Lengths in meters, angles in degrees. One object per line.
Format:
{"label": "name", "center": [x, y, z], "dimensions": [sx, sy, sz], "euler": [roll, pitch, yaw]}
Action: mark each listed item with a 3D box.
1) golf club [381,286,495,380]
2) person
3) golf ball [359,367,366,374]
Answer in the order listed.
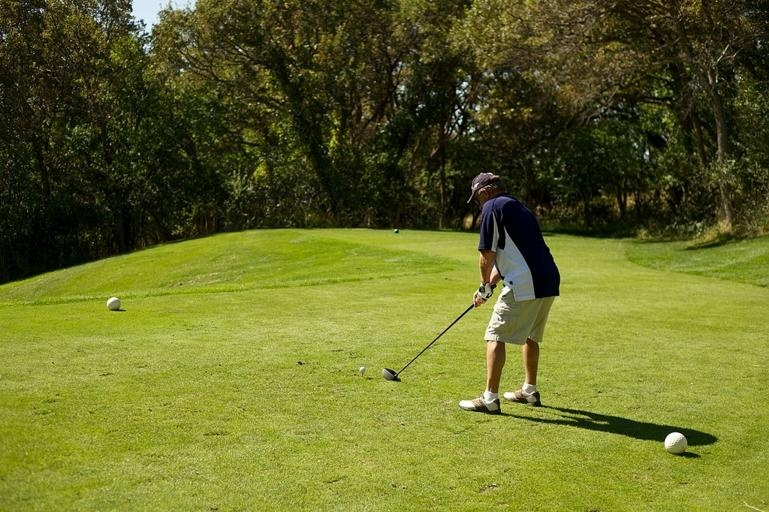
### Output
{"label": "golf club", "center": [0.636, 1.162, 10.707], "dimensions": [1.762, 0.283, 0.332], "euler": [-41, -34, 24]}
{"label": "person", "center": [1.747, 0.459, 10.711], "dimensions": [1.490, 2.888, 1.000], "euler": [0, 0, 5]}
{"label": "golf ball", "center": [-0.299, 1.534, 10.724], "dimensions": [0.073, 0.073, 0.067], "euler": [4, -13, 1]}
